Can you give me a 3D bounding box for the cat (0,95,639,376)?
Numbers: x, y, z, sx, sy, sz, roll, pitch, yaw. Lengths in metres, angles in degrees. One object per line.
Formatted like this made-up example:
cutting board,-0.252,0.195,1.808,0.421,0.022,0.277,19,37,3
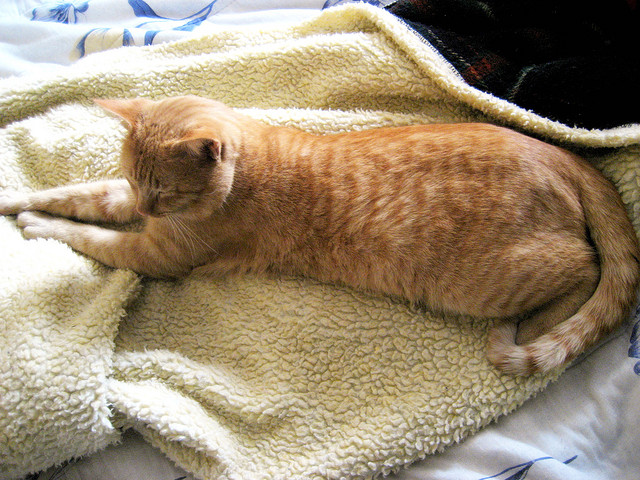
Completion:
cat,0.170,0.032,1.943,2.221,0.661,0.744,7,43,3
